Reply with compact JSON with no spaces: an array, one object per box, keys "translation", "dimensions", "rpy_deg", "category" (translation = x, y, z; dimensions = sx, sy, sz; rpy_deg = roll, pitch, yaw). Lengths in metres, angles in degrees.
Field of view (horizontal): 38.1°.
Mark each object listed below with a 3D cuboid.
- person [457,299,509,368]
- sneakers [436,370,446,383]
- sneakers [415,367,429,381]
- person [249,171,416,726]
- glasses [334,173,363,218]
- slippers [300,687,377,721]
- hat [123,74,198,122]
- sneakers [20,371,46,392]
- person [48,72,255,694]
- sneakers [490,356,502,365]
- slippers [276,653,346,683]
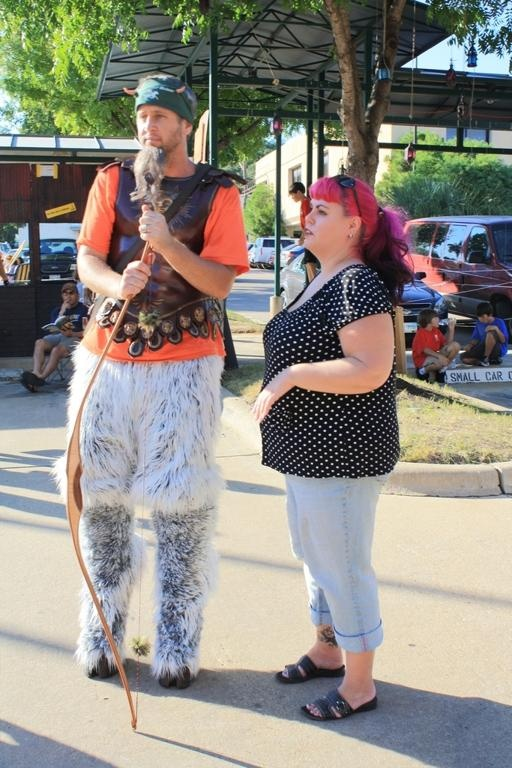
[{"translation":[2.944,-0.649,9.611],"dimensions":[0.536,0.739,0.648],"rpy_deg":[4,9,18],"category":"person"},{"translation":[2.085,-0.096,8.400],"dimensions":[0.122,0.141,0.085],"rpy_deg":[10,19,34],"category":"sneakers"},{"translation":[1.898,-0.118,8.548],"dimensions":[0.111,0.135,0.185],"rpy_deg":[-3,9,-22],"category":"sneakers"},{"translation":[0.216,0.208,2.291],"dimensions":[0.460,1.683,0.490],"rpy_deg":[3,9,11],"category":"person"},{"translation":[0.274,-0.555,2.192],"dimensions":[0.037,0.107,0.092],"rpy_deg":[-29,34,-27],"category":"glasses"},{"translation":[0.263,0.982,2.285],"dimensions":[0.209,0.055,0.084],"rpy_deg":[1,-2,-21],"category":"slippers"},{"translation":[-0.306,-0.892,2.313],"dimensions":[0.221,0.144,0.152],"rpy_deg":[11,14,1],"category":"hat"},{"translation":[-2.556,-0.027,8.488],"dimensions":[0.238,0.255,0.311],"rpy_deg":[-2,9,-15],"category":"sneakers"},{"translation":[-0.307,0.014,2.413],"dimensions":[0.659,2.007,0.590],"rpy_deg":[-1,9,-14],"category":"person"},{"translation":[3.042,-0.296,9.401],"dimensions":[0.103,0.049,0.126],"rpy_deg":[-2,3,-7],"category":"sneakers"},{"translation":[0.181,0.982,2.588],"dimensions":[0.249,0.074,0.089],"rpy_deg":[2,-4,-18],"category":"slippers"}]
